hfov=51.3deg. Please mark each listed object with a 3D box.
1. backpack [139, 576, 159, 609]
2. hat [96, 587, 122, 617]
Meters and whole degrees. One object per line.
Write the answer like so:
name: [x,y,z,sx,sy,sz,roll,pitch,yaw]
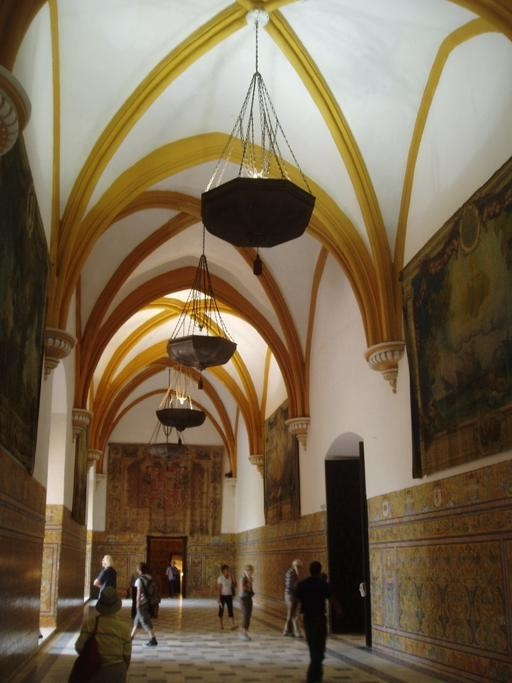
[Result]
backpack: [-1.419,3.322,7.074,0.207,0.428,0.404,-8,-19,22]
hat: [-0.728,1.258,2.602,0.106,0.109,0.174,0,3,-8]
